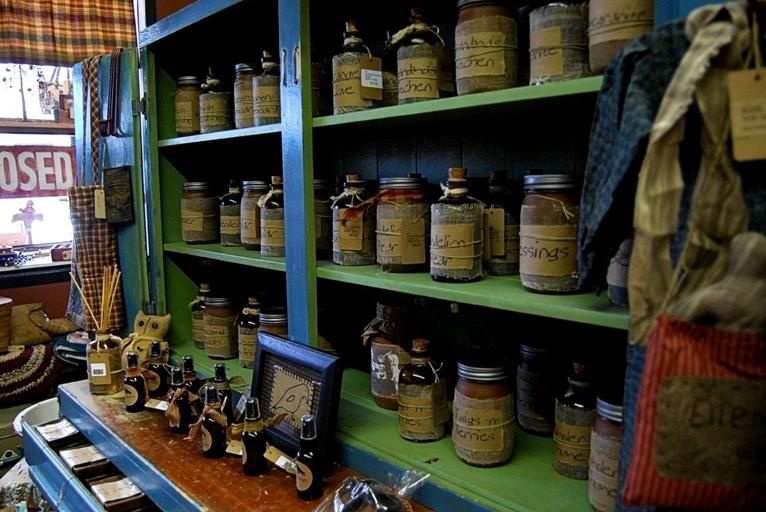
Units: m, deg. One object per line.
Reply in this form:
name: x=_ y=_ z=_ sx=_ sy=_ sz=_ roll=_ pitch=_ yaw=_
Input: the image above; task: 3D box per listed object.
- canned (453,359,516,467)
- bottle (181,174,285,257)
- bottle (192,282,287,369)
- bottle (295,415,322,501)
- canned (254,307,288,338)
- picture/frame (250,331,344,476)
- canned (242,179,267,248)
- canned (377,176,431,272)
canned: x=0.277 y=0.442 z=1.688 sx=0.202 sy=0.257 sz=0.181 roll=1 pitch=-1 yaw=15
bottle: x=-0.593 y=-0.150 z=2.346 sx=0.412 sy=0.209 sz=0.126 roll=3 pitch=6 yaw=34
bottle: x=-0.548 y=0.283 z=2.385 sx=0.432 sy=0.262 sz=0.258 roll=2 pitch=3 yaw=38
bottle: x=-0.216 y=0.560 z=1.692 sx=0.075 sy=0.233 sz=0.089 roll=-4 pitch=11 yaw=-10
canned: x=-0.406 y=0.237 z=2.179 sx=0.119 sy=0.096 sz=0.109 roll=1 pitch=0 yaw=-6
picture/frame: x=-0.267 y=0.460 z=1.822 sx=0.046 sy=0.341 sz=0.435 roll=4 pitch=2 yaw=-43
canned: x=-0.481 y=-0.162 z=2.331 sx=0.136 sy=0.253 sz=0.132 roll=-4 pitch=9 yaw=-31
canned: x=0.050 y=-0.089 z=1.844 sx=0.185 sy=0.267 sz=0.185 roll=2 pitch=5 yaw=44
